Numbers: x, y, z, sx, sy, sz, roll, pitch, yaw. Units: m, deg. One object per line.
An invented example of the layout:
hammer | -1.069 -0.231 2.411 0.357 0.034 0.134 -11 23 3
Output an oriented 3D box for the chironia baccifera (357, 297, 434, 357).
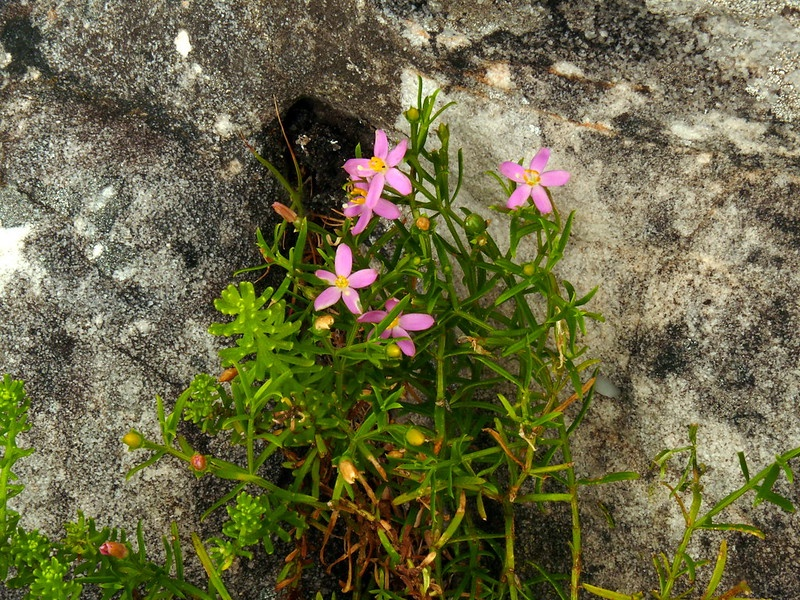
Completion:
chironia baccifera | -0.018 0.074 2.979 0.234 0.105 0.235 27 43 17

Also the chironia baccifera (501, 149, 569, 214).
chironia baccifera | 0.448 -0.402 2.977 0.241 0.117 0.257 0 -8 -11

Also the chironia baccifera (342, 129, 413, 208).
chironia baccifera | -0.077 -0.431 2.940 0.096 0.268 0.232 -15 26 -38

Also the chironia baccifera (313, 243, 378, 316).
chironia baccifera | -0.193 -0.071 2.989 0.199 0.228 0.160 -6 22 -42
